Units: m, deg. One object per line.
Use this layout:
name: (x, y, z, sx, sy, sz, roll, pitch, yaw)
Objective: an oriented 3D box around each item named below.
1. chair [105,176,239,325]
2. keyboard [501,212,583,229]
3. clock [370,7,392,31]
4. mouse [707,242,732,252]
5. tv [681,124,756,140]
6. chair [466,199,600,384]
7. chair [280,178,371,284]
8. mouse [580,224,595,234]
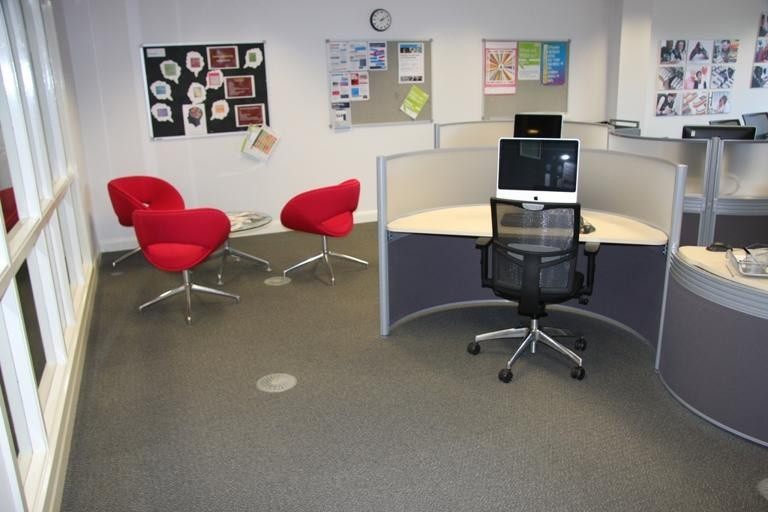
chair: (-2.146, -0.014, 5.502, 1.040, 1.124, 0.964, 23, 34, 33)
keyboard: (1.044, -0.250, 3.824, 0.474, 0.118, 0.043, 3, 22, 13)
clock: (-0.039, -2.994, 7.011, 0.293, 0.275, 0.071, -13, 23, -25)
mouse: (2.277, -0.061, 3.760, 0.120, 0.032, 0.087, -2, 15, 9)
tv: (3.272, -1.219, 5.455, 0.608, 0.130, 0.170, 12, 25, 33)
chair: (1.081, 0.206, 4.029, 0.922, 1.295, 0.639, 1, 21, 9)
chair: (-0.674, -0.246, 6.068, 0.716, 0.970, 0.902, 19, 29, 31)
mouse: (1.561, -0.210, 4.266, 0.095, 0.025, 0.094, -5, 14, -7)
